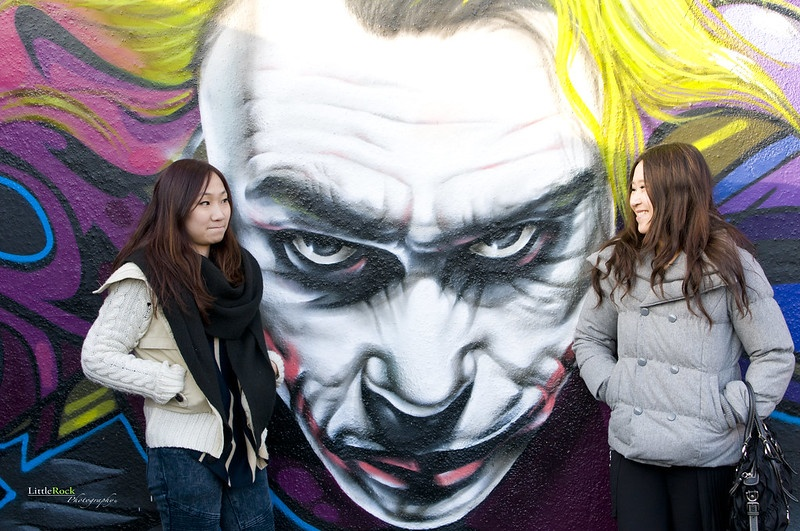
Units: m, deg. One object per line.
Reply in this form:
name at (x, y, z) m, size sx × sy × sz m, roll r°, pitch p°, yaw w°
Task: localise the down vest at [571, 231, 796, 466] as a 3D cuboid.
down vest at (1.551, 0.498, 3.779) m, size 1.143 × 1.149 × 0.572 m, roll 8°, pitch 22°, yaw 14°
